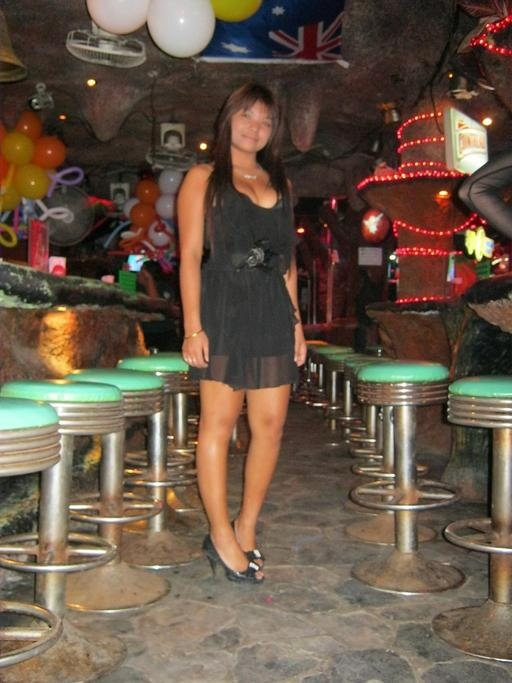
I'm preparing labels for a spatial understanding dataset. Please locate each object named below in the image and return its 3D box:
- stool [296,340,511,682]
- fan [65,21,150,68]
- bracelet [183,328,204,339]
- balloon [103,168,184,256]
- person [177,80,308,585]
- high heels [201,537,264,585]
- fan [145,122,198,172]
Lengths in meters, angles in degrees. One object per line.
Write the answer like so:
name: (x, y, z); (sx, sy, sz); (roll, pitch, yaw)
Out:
stool: (0.604, 0.548, 2.335); (0.873, 1.024, 0.759); (-2, 2, -6)
fan: (-1.393, -2.779, 5.766); (0.590, 0.204, 0.513); (-1, 29, -16)
bracelet: (-0.223, -0.024, 2.216); (0.050, 0.012, 0.042); (-27, -2, 7)
balloon: (-1.483, -1.757, 8.666); (1.025, 1.468, 0.626); (14, 26, 0)
person: (-0.042, -0.033, 2.350); (0.527, 1.889, 0.286); (1, 1, -15)
high heels: (-0.109, 0.837, 2.367); (0.322, 0.168, 0.100); (-2, -3, 18)
fan: (-1.046, -2.534, 8.172); (0.818, 0.707, 0.211); (2, 18, 6)
